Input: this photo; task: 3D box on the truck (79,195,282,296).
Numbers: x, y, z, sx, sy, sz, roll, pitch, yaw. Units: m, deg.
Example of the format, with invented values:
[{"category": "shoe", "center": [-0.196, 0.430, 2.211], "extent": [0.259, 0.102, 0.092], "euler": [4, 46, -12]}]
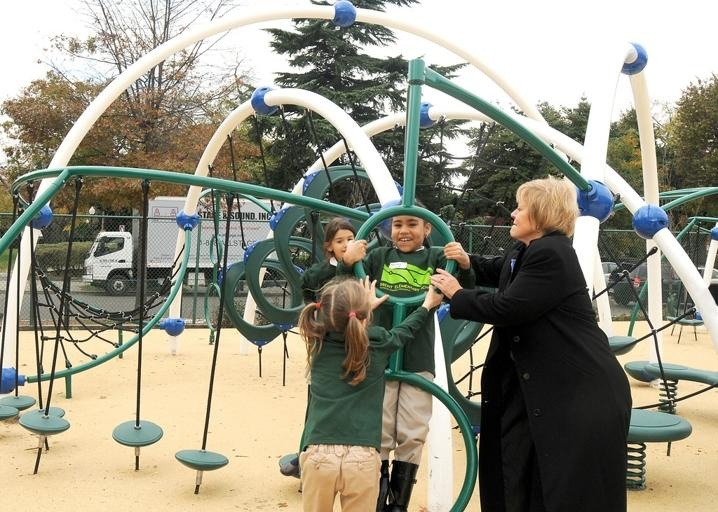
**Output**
[{"category": "truck", "center": [-4.381, -0.305, 18.173], "extent": [3.969, 2.282, 4.969], "euler": [3, 6, 16]}]
